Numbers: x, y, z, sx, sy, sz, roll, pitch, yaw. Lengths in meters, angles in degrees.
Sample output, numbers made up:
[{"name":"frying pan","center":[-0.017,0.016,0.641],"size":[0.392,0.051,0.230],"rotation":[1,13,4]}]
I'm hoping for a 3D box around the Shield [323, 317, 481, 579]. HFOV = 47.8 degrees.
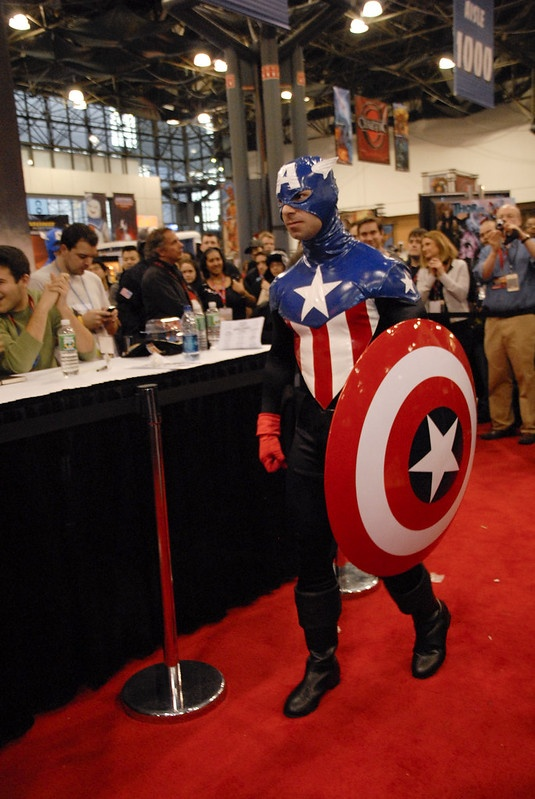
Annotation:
[{"name":"Shield","center":[0.317,0.117,1.397],"size":[0.468,0.596,0.125],"rotation":[-9,5,-39]}]
